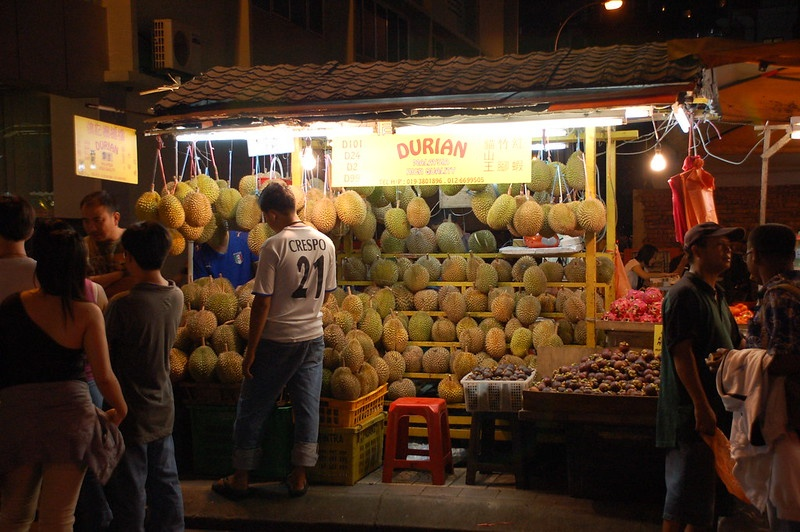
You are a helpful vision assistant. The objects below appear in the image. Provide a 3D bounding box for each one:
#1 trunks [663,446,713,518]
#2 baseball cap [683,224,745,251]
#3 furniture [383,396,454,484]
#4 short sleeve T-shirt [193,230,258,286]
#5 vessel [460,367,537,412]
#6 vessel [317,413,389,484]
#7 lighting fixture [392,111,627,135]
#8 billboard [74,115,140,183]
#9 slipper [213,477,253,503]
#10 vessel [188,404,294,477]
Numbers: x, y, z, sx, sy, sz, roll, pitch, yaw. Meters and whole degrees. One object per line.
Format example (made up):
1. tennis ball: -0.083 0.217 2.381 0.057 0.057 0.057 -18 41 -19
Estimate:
1. trunks: 2.033 1.493 4.798 0.315 0.560 0.180 2 3 22
2. baseball cap: 2.196 -0.230 4.805 0.318 0.123 0.211 -19 -3 26
3. furniture: 0.175 1.560 6.445 0.675 0.738 0.701 -1 -1 9
4. short sleeve T-shirt: -1.926 -0.089 7.417 0.512 0.511 0.280 -5 19 -11
5. vessel: 0.878 1.148 6.231 0.647 0.330 0.233 1 3 1
6. vessel: -0.533 1.792 6.453 0.505 0.441 0.738 -20 -12 15
7. lighting fixture: 1.004 -1.339 6.578 2.182 0.137 0.259 2 3 14
8. billboard: -3.744 -1.445 8.747 1.205 0.730 0.028 13 16 29
9. slipper: -1.450 1.902 5.903 0.302 0.126 0.153 8 4 27
10. vessel: -1.712 1.628 6.741 0.585 0.676 0.975 0 -7 -9
